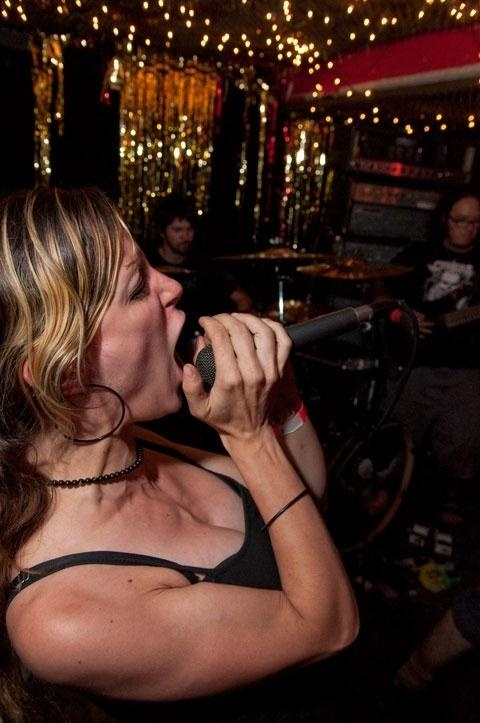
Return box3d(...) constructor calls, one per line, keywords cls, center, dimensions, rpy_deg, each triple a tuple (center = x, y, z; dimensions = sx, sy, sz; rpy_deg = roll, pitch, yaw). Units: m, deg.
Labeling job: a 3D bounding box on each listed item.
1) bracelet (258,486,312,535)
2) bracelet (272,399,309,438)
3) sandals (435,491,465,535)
box3d(cls="bracelet", center=(0.070, 0.239, 0.963), dimensions=(0.017, 0.062, 0.067), rpy_deg=(47, 19, 14))
box3d(cls="bracelet", center=(0.103, 0.125, 1.236), dimensions=(0.070, 0.046, 0.069), rpy_deg=(-30, 2, -40))
box3d(cls="sandals", center=(0.643, 0.456, 1.788), dimensions=(0.084, 0.113, 0.029), rpy_deg=(8, -14, -17))
